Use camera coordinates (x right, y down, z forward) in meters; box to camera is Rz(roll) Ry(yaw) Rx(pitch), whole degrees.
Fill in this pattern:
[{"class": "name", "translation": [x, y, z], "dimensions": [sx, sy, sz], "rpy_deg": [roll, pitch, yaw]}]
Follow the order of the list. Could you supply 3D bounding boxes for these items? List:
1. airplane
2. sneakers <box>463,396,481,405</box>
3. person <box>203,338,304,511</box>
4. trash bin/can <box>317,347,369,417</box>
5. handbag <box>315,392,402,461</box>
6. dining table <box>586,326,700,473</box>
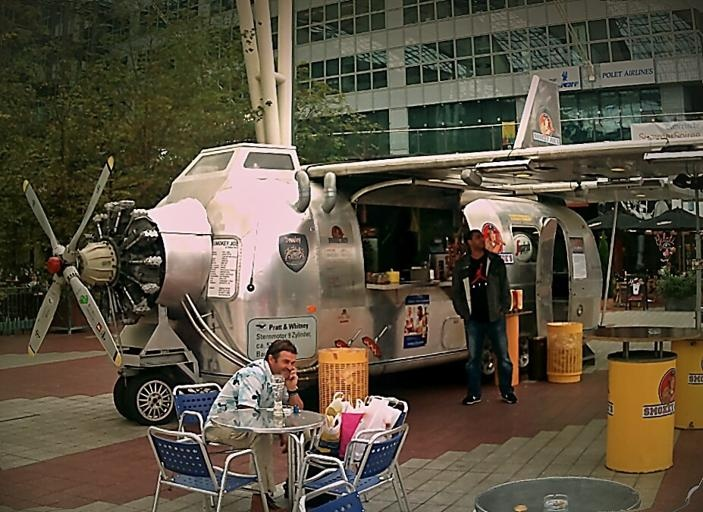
[{"class": "airplane", "translation": [0.358, -0.052, 10.828], "dimensions": [7.567, 4.103, 7.776], "rpy_deg": [0, -3, -38]}, {"class": "sneakers", "translation": [2.023, 2.437, 10.599], "dimensions": [0.290, 0.114, 0.122], "rpy_deg": [3, -3, -28]}, {"class": "person", "translation": [-0.895, 1.671, 5.992], "dimensions": [0.899, 1.693, 0.806], "rpy_deg": [-2, 1, -29]}, {"class": "trash bin/can", "translation": [-0.106, 1.749, 8.835], "dimensions": [0.789, 0.902, 0.815], "rpy_deg": [-2, -3, 27]}, {"class": "handbag", "translation": [0.128, 1.737, 6.227], "dimensions": [0.576, 0.722, 0.401], "rpy_deg": [11, -25, 33]}, {"class": "dining table", "translation": [3.575, 1.710, 7.973], "dimensions": [1.461, 1.682, 1.501], "rpy_deg": [3, -4, -39]}]
